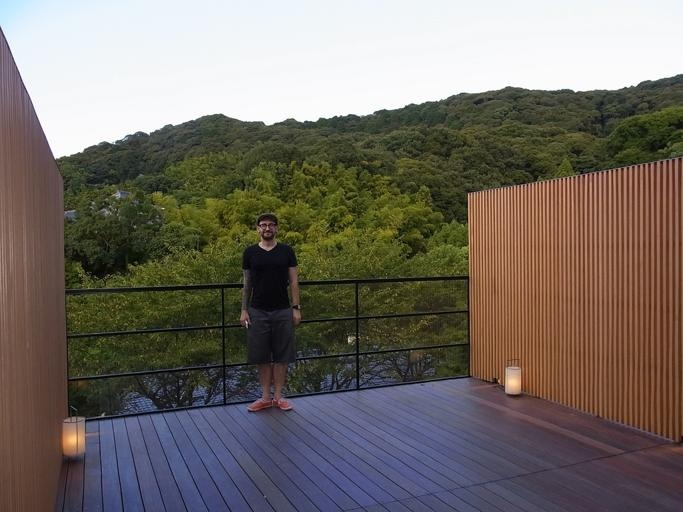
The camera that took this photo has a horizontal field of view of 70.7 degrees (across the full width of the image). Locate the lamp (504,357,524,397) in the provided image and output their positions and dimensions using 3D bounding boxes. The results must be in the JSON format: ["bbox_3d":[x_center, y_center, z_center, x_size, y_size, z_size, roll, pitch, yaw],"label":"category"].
[{"bbox_3d":[1.682,1.182,4.713,0.157,0.340,0.156,1,-1,-16],"label":"lamp"}]

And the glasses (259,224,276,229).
[{"bbox_3d":[-0.650,-0.255,4.216,0.155,0.042,0.084,-2,4,-20],"label":"glasses"}]

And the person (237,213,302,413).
[{"bbox_3d":[-0.641,0.495,4.357,0.531,1.749,0.416,-1,4,-10],"label":"person"}]

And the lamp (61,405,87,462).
[{"bbox_3d":[-1.923,1.230,3.446,0.139,0.342,0.383,-3,4,-27],"label":"lamp"}]
